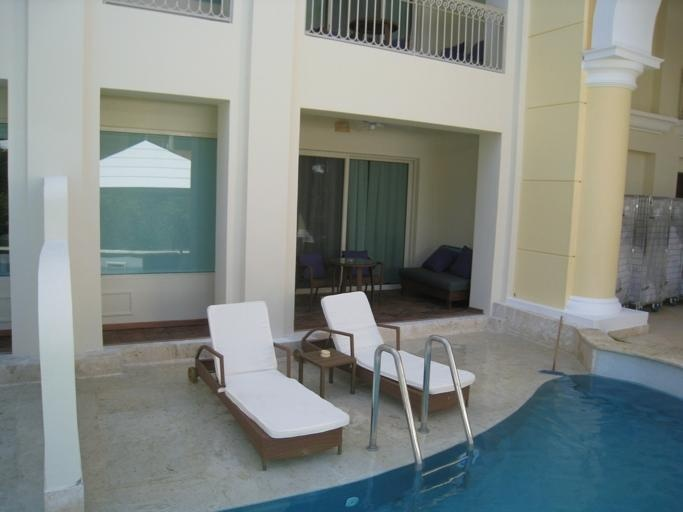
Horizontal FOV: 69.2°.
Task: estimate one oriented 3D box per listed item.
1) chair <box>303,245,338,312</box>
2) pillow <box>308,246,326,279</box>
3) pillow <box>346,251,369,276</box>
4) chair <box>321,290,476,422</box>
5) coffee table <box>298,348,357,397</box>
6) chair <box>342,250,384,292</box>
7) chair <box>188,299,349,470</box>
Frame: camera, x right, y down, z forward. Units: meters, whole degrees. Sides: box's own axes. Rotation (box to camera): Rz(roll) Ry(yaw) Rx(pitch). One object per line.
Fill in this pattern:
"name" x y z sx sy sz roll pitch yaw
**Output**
"chair" -0.498 0.435 10.634 0.822 1.432 0.922 -2 4 -25
"pillow" -0.549 0.138 10.885 0.471 0.695 0.554 -5 15 -30
"pillow" 0.349 0.139 10.830 0.438 0.607 0.491 1 2 -7
"chair" 0.659 1.275 6.731 0.906 1.242 2.365 -6 6 -33
"coffee table" -0.227 1.594 6.717 0.615 0.604 0.640 -6 12 -34
"chair" 0.437 0.377 10.432 0.805 0.954 0.875 3 5 3
"chair" -1.026 1.373 6.070 1.054 1.340 2.732 -1 7 -31
